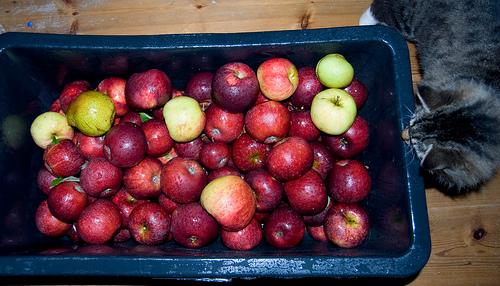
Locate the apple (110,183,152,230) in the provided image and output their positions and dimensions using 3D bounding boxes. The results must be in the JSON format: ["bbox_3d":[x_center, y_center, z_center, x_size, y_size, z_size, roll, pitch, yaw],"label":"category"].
[{"bbox_3d":[-0.820,0.375,2.872,0.278,0.276,0.268,0,54,-24],"label":"apple"}]

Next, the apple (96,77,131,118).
[{"bbox_3d":[-0.855,-0.303,2.931,0.235,0.231,0.227,-4,90,1],"label":"apple"}]

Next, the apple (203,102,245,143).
[{"bbox_3d":[-0.142,-0.134,2.885,0.241,0.233,0.250,7,47,29],"label":"apple"}]

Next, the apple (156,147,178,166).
[{"bbox_3d":[-0.542,0.087,2.862,0.118,0.109,0.103,15,45,-11],"label":"apple"}]

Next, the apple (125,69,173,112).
[{"bbox_3d":[-0.653,-0.328,2.832,0.270,0.271,0.252,-12,71,-37],"label":"apple"}]

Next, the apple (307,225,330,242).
[{"bbox_3d":[0.455,0.575,2.900,0.109,0.133,0.108,-3,64,40],"label":"apple"}]

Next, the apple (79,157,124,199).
[{"bbox_3d":[-0.913,0.199,2.804,0.253,0.246,0.240,-20,86,29],"label":"apple"}]

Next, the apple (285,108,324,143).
[{"bbox_3d":[0.350,-0.108,2.920,0.211,0.212,0.198,-6,110,-14],"label":"apple"}]

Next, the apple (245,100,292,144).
[{"bbox_3d":[0.114,-0.127,2.801,0.275,0.251,0.239,-3,90,-4],"label":"apple"}]

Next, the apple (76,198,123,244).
[{"bbox_3d":[-0.933,0.506,2.822,0.326,0.314,0.280,-3,87,-19],"label":"apple"}]

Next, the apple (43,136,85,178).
[{"bbox_3d":[-1.177,0.079,2.770,0.225,0.131,0.246,-16,64,-4],"label":"apple"}]

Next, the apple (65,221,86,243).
[{"bbox_3d":[-1.123,0.573,2.868,0.129,0.084,0.132,5,80,10],"label":"apple"}]

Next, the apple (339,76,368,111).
[{"bbox_3d":[0.741,-0.325,2.925,0.125,0.124,0.139,30,93,-21],"label":"apple"}]

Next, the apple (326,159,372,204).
[{"bbox_3d":[0.623,0.240,2.898,0.278,0.279,0.265,-5,94,30],"label":"apple"}]

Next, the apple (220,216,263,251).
[{"bbox_3d":[-0.044,0.583,2.712,0.224,0.151,0.203,-2,26,-15],"label":"apple"}]

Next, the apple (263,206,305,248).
[{"bbox_3d":[0.209,0.521,2.755,0.256,0.145,0.245,-2,64,3],"label":"apple"}]

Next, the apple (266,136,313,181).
[{"bbox_3d":[0.245,0.100,2.735,0.252,0.175,0.289,34,71,18],"label":"apple"}]

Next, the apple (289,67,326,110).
[{"bbox_3d":[0.322,-0.375,2.955,0.268,0.267,0.298,2,107,-1],"label":"apple"}]

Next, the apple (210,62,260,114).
[{"bbox_3d":[-0.095,-0.338,2.759,0.300,0.219,0.261,-36,67,-13],"label":"apple"}]

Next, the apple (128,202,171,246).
[{"bbox_3d":[-0.624,0.505,2.818,0.262,0.248,0.242,2,89,-4],"label":"apple"}]

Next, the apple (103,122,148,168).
[{"bbox_3d":[-0.774,-0.019,2.791,0.273,0.265,0.263,24,104,26],"label":"apple"}]

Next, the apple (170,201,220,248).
[{"bbox_3d":[-0.330,0.494,2.762,0.264,0.279,0.212,11,66,25],"label":"apple"}]

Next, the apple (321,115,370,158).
[{"bbox_3d":[0.653,-0.048,2.951,0.282,0.261,0.264,9,111,13],"label":"apple"}]

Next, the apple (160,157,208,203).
[{"bbox_3d":[-0.425,0.239,2.817,0.285,0.272,0.268,12,42,-20],"label":"apple"}]

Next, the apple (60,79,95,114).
[{"bbox_3d":[-1.129,-0.318,2.933,0.203,0.195,0.194,15,81,39],"label":"apple"}]

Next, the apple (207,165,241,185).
[{"bbox_3d":[-0.177,0.181,2.866,0.140,0.136,0.158,-17,97,3],"label":"apple"}]

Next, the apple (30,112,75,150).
[{"bbox_3d":[-1.266,-0.085,2.901,0.240,0.228,0.240,-6,54,-9],"label":"apple"}]

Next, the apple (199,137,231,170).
[{"bbox_3d":[-0.225,0.076,2.745,0.182,0.166,0.208,-2,28,0],"label":"apple"}]

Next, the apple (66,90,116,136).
[{"bbox_3d":[-0.946,-0.196,2.776,0.281,0.276,0.266,10,24,6],"label":"apple"}]

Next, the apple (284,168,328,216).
[{"bbox_3d":[0.364,0.309,2.856,0.278,0.264,0.264,-16,91,-13],"label":"apple"}]

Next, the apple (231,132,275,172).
[{"bbox_3d":[-0.016,0.045,2.906,0.245,0.281,0.238,-21,108,-3],"label":"apple"}]

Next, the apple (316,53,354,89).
[{"bbox_3d":[0.540,-0.451,2.817,0.210,0.148,0.203,-32,66,-11],"label":"apple"}]

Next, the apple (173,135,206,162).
[{"bbox_3d":[-0.373,0.049,2.876,0.192,0.167,0.159,-24,51,31],"label":"apple"}]

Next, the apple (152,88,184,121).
[{"bbox_3d":[-0.556,-0.262,2.888,0.235,0.198,0.189,9,99,7],"label":"apple"}]

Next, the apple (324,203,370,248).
[{"bbox_3d":[0.607,0.516,2.769,0.273,0.130,0.262,3,64,5],"label":"apple"}]
